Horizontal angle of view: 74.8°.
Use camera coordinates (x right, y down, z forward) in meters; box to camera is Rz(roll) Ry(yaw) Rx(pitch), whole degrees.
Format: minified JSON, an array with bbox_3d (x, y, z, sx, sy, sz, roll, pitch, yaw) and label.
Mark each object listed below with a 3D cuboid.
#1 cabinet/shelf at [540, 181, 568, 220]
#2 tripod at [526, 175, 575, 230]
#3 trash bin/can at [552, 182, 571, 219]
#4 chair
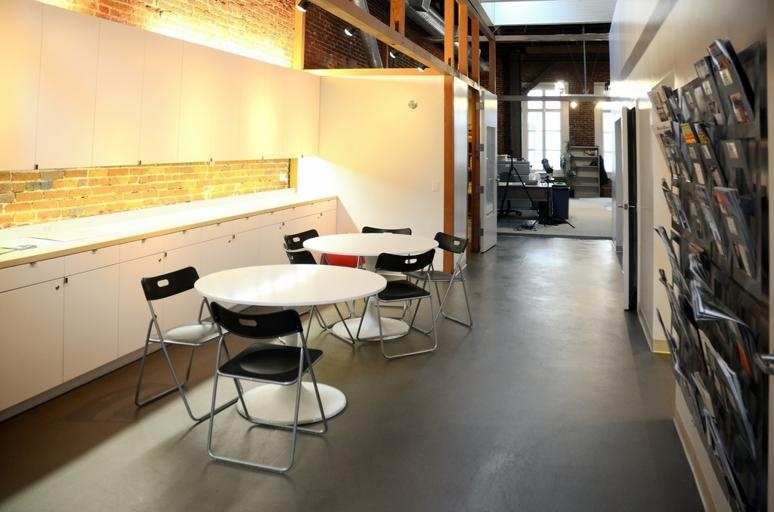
[{"bbox_3d":[4.581,-1.435,13.962,0.846,1.404,0.931,0,3,2],"label":"cabinet/shelf"},{"bbox_3d":[4.578,-1.501,14.215,1.501,1.605,1.276,3,12,21],"label":"tripod"},{"bbox_3d":[4.714,-1.485,13.843,0.471,0.999,0.552,4,13,17],"label":"trash bin/can"},{"bbox_3d":[-0.622,0.659,4.679,1.493,1.105,2.669,6,15,23],"label":"chair"}]
